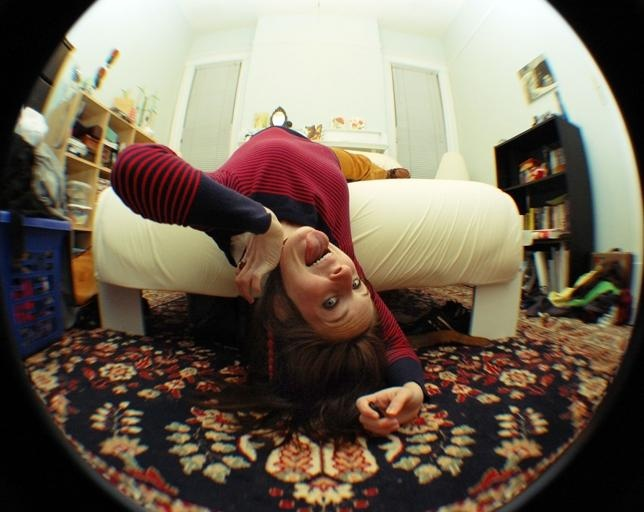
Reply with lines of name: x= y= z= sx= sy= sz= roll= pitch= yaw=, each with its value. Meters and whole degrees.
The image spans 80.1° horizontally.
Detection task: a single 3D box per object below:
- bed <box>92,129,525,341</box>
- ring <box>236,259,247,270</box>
bed: x=0.022 y=-0.013 z=0.974 sx=0.652 sy=0.217 sz=0.633 roll=0 pitch=5 yaw=-3
ring: x=-0.169 y=0.018 z=0.802 sx=0.008 sy=0.024 sz=0.018 roll=31 pitch=-7 yaw=-14
